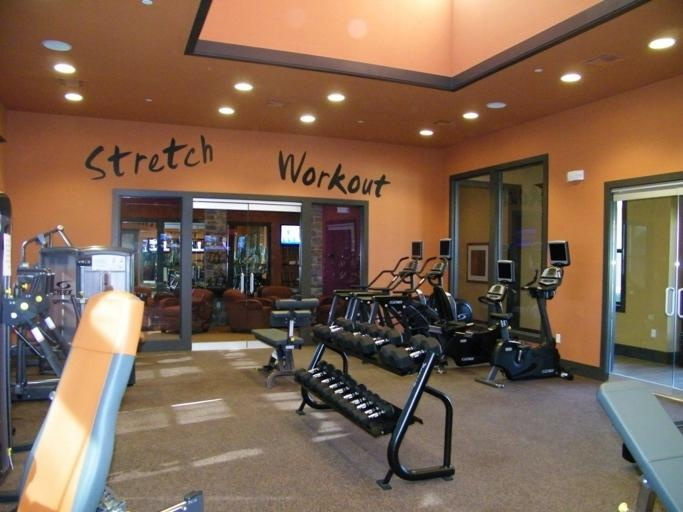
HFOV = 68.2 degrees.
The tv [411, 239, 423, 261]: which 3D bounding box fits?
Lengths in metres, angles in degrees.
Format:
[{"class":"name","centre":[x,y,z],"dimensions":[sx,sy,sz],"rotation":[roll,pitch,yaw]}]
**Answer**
[{"class":"tv","centre":[1.207,-0.097,8.008],"dimensions":[0.154,0.285,0.281],"rotation":[2,4,16]}]

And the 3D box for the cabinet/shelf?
[{"class":"cabinet/shelf","centre":[0.254,1.172,4.502],"dimensions":[0.613,1.163,1.564],"rotation":[-1,4,-32]}]

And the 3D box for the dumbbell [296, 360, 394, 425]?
[{"class":"dumbbell","centre":[0.079,1.242,4.473],"dimensions":[0.700,0.475,0.749],"rotation":[6,0,-22]}]

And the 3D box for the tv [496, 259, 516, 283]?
[{"class":"tv","centre":[2.254,0.220,6.960],"dimensions":[0.244,0.314,0.194],"rotation":[3,4,34]}]

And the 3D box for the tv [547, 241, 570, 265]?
[{"class":"tv","centre":[2.831,-0.045,6.539],"dimensions":[0.131,0.397,0.295],"rotation":[3,-7,-29]}]
